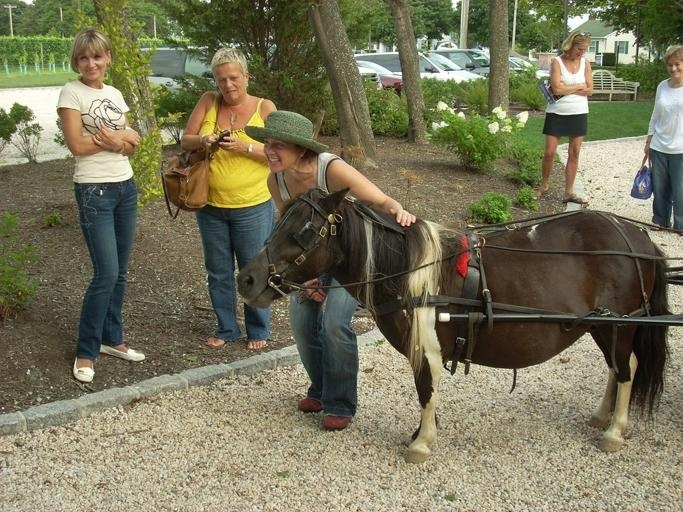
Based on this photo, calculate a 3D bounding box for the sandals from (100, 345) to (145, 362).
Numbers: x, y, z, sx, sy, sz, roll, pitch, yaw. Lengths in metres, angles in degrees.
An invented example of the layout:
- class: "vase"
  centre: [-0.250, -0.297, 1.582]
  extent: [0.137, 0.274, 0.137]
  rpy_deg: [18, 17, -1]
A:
- class: "sandals"
  centre: [-1.902, 0.847, 5.627]
  extent: [0.413, 0.132, 0.150]
  rpy_deg: [8, 1, -6]

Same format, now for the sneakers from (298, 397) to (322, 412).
- class: "sneakers"
  centre: [-0.252, 1.193, 5.093]
  extent: [0.169, 0.104, 0.098]
  rpy_deg: [1, 10, -11]

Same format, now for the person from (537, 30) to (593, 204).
- class: "person"
  centre: [3.531, -2.150, 9.873]
  extent: [0.699, 2.587, 0.516]
  rpy_deg: [5, 20, 17]

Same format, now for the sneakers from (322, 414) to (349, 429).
- class: "sneakers"
  centre: [-0.044, 1.250, 4.786]
  extent: [0.090, 0.086, 0.199]
  rpy_deg: [-4, -16, 35]

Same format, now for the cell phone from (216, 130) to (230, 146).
- class: "cell phone"
  centre: [-0.995, -1.000, 5.368]
  extent: [0.091, 0.117, 0.113]
  rpy_deg: [-9, -9, 42]

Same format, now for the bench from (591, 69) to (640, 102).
- class: "bench"
  centre: [11.057, -6.951, 25.576]
  extent: [2.343, 1.168, 1.736]
  rpy_deg: [-15, 23, -35]

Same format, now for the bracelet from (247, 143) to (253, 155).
- class: "bracelet"
  centre: [-0.786, -0.943, 5.435]
  extent: [0.049, 0.067, 0.065]
  rpy_deg: [1, -16, -9]

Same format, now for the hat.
- class: "hat"
  centre: [-0.347, -0.835, 4.156]
  extent: [0.390, 0.137, 0.330]
  rpy_deg: [12, 4, -19]

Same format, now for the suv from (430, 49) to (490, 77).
- class: "suv"
  centre: [4.993, -7.790, 26.149]
  extent: [2.436, 1.241, 1.520]
  rpy_deg: [10, 25, 29]

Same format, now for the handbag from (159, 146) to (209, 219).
- class: "handbag"
  centre: [-1.338, -0.619, 5.489]
  extent: [0.457, 0.588, 0.359]
  rpy_deg: [14, 24, 36]

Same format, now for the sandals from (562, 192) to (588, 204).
- class: "sandals"
  centre: [3.752, -0.948, 10.097]
  extent: [0.427, 0.185, 0.160]
  rpy_deg: [2, 15, 8]

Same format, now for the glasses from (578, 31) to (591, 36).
- class: "glasses"
  centre: [3.588, -3.317, 9.366]
  extent: [0.126, 0.050, 0.227]
  rpy_deg: [5, 20, 15]

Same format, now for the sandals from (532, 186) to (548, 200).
- class: "sandals"
  centre: [3.311, -1.093, 10.597]
  extent: [0.159, 0.185, 0.459]
  rpy_deg: [2, 9, 32]
